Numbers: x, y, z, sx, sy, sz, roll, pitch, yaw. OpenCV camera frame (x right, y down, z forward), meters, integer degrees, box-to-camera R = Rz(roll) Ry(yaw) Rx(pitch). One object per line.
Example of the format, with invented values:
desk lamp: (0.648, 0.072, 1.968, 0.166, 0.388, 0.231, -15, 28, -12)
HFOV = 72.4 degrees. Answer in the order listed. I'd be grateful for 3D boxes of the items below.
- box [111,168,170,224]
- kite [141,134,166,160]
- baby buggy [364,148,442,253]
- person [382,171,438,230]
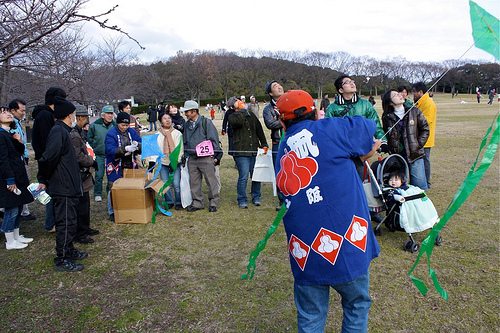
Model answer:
box: (-2.508, 0.713, 7.718, 0.958, 0.937, 1.033, -3, 1, -6)
kite: (-2.374, -0.458, 7.770, 0.395, 0.510, 0.473, -21, 16, -35)
baby buggy: (2.708, 0.541, 6.143, 1.281, 1.789, 0.938, 4, 11, 36)
person: (2.822, 0.512, 6.144, 0.971, 1.062, 0.875, -26, 21, -37)
